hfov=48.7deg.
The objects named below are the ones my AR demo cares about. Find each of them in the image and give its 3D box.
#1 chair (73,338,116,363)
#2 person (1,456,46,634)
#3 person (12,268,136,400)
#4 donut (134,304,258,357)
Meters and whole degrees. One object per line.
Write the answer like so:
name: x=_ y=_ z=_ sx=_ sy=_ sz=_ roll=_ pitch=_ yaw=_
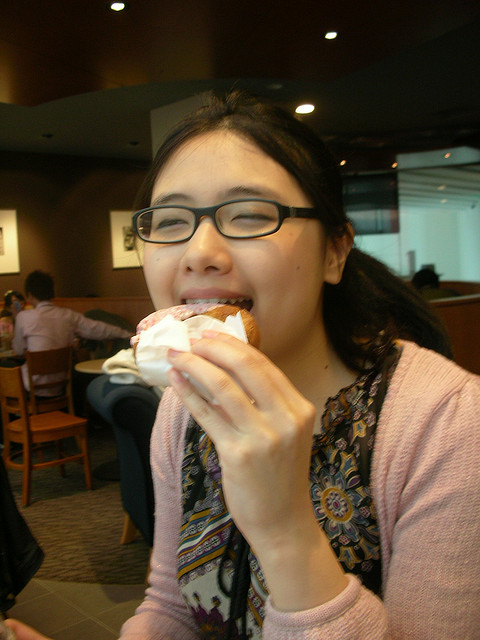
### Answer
chair: x=-1.206 y=0.245 z=4.432 sx=0.252 sy=0.281 sz=0.214 roll=-4 pitch=25 yaw=-17
person: x=-0.915 y=0.906 z=2.234 sx=0.157 sy=0.761 sz=0.628 roll=-4 pitch=6 yaw=-21
person: x=-1.288 y=0.111 z=4.000 sx=1.294 sy=1.128 sz=0.349 roll=-3 pitch=15 yaw=-11
donut: x=-0.082 y=0.002 z=0.773 sx=0.132 sy=0.046 sz=0.119 roll=-11 pitch=7 yaw=42
